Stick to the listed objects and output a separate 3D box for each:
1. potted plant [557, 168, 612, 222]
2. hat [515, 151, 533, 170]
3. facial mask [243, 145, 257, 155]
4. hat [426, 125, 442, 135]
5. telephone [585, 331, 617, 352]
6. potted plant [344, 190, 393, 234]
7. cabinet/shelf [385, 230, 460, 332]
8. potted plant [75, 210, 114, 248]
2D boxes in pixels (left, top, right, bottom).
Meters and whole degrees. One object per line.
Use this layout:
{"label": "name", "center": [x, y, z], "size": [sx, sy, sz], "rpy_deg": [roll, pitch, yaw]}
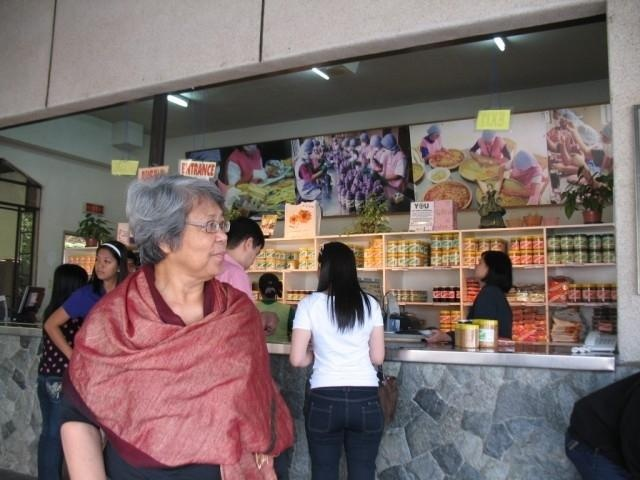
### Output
{"label": "potted plant", "center": [2.975, -0.499, 5.589], "size": [0.611, 0.539, 0.607], "rpy_deg": [2, -8, -20]}
{"label": "hat", "center": [2.626, -1.019, 6.456], "size": [0.179, 0.192, 0.245], "rpy_deg": [0, -6, 7]}
{"label": "facial mask", "center": [-1.145, -1.507, 8.373], "size": [0.255, 0.161, 0.017], "rpy_deg": [-1, -2, 25]}
{"label": "hat", "center": [1.602, -1.535, 7.008], "size": [0.179, 0.131, 0.031], "rpy_deg": [0, -2, 13]}
{"label": "telephone", "center": [1.707, 0.619, 3.039], "size": [0.163, 0.112, 0.512], "rpy_deg": [-1, -2, 30]}
{"label": "potted plant", "center": [0.682, -0.373, 6.733], "size": [0.433, 0.675, 0.413], "rpy_deg": [-9, -22, 10]}
{"label": "cabinet/shelf", "center": [1.215, 0.434, 5.859], "size": [1.230, 1.441, 0.414], "rpy_deg": [0, -1, 19]}
{"label": "potted plant", "center": [-3.848, -0.174, 8.666], "size": [0.741, 0.758, 0.629], "rpy_deg": [-2, -3, -9]}
